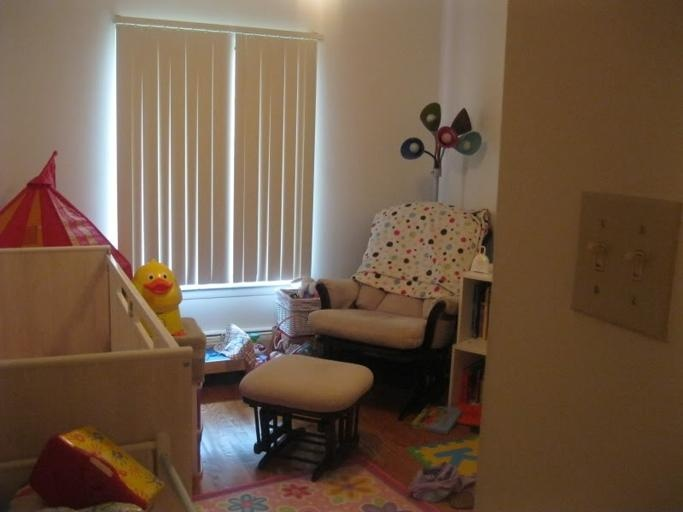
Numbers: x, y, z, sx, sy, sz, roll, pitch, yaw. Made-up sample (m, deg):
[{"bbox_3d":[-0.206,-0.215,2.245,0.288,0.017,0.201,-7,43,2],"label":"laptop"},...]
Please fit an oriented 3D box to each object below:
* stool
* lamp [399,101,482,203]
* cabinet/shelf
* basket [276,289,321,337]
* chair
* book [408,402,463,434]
[{"bbox_3d":[-0.113,0.619,2.427,0.459,0.438,0.473,4,9,24],"label":"stool"},{"bbox_3d":[0.731,-0.743,3.871,0.535,0.691,0.560,4,7,34],"label":"lamp"},{"bbox_3d":[0.692,0.470,2.972,0.206,0.762,0.422,2,5,13],"label":"cabinet/shelf"},{"bbox_3d":[-0.292,0.351,3.492,0.219,0.249,0.388,-1,6,-22],"label":"basket"},{"bbox_3d":[0.310,0.286,3.374,0.913,1.169,0.907,-1,6,-42],"label":"chair"},{"bbox_3d":[0.499,0.837,2.863,0.201,0.054,0.248,5,7,32],"label":"book"}]
